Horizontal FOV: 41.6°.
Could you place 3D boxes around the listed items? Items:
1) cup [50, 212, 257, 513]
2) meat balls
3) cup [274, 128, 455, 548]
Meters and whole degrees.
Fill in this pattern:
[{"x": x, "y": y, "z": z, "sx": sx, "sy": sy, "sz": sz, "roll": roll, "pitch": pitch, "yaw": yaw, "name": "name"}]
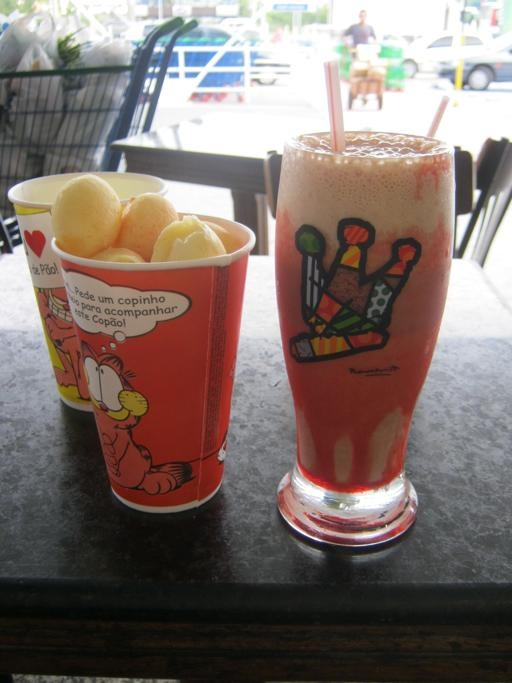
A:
[{"x": -0.057, "y": 0.010, "z": 0.457, "sx": 0.143, "sy": 0.156, "sz": 0.141, "roll": 4, "pitch": 18, "yaw": -1, "name": "cup"}, {"x": -0.063, "y": -0.072, "z": 0.400, "sx": 0.111, "sy": 0.050, "sz": 0.104, "roll": -1, "pitch": 31, "yaw": 0, "name": "meat balls"}, {"x": 0.055, "y": 0.009, "z": 0.383, "sx": 0.092, "sy": 0.219, "sz": 0.114, "roll": 5, "pitch": 36, "yaw": 9, "name": "cup"}]
